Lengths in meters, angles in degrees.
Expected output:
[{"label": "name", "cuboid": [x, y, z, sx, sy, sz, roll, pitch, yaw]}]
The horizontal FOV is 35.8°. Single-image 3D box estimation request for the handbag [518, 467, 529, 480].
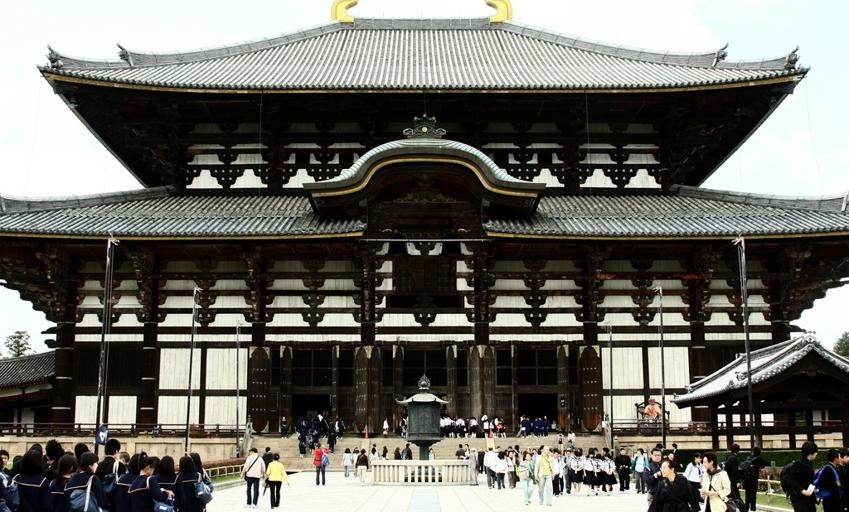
[{"label": "handbag", "cuboid": [4.481, 9.819, 59.382, 0.780, 0.631, 0.347, 0, -5, 9]}]
